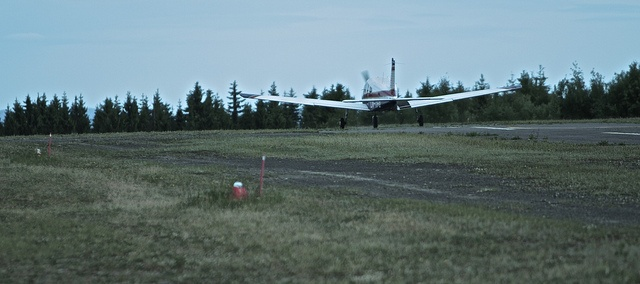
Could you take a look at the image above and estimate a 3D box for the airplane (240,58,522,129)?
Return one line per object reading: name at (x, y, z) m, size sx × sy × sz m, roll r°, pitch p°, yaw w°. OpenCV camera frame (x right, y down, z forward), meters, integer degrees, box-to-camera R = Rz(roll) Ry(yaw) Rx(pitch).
airplane at (8.080, -5.424, 79.305) m, size 17.847 × 7.250 × 19.488 m, roll 2°, pitch 4°, yaw 42°
